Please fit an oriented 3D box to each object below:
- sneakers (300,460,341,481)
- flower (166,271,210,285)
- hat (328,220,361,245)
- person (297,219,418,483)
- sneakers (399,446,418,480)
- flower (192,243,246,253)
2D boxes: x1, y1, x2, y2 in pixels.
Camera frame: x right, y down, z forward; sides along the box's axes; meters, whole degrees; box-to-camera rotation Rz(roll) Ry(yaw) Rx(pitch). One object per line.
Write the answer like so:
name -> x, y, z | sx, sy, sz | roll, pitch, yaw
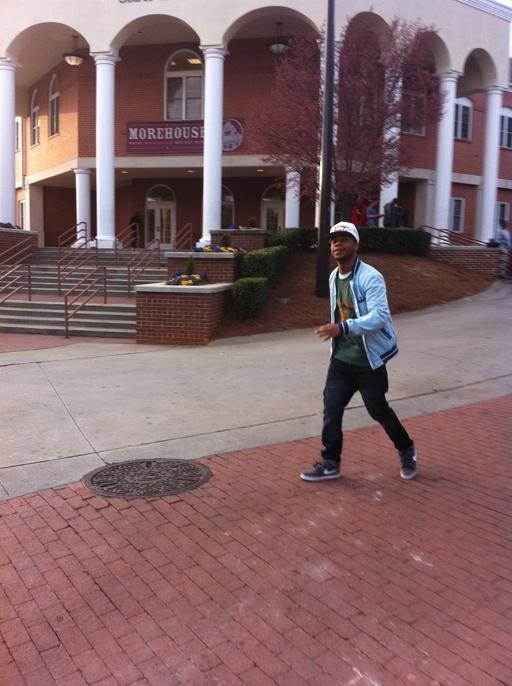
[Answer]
sneakers -> 0.492, 0.949, 4.733 | 0.368, 0.136, 0.113 | 1, -2, -6
flower -> -1.315, -1.221, 12.112 | 0.754, 0.204, 0.803 | -1, 8, -7
hat -> 0.625, -0.781, 4.464 | 0.224, 0.135, 0.285 | 7, 18, 6
person -> 0.728, 0.100, 4.492 | 0.805, 1.888, 0.784 | 1, 9, 12
sneakers -> 1.139, 0.912, 4.736 | 0.100, 0.101, 0.280 | -18, 3, 24
flower -> -1.058, -2.159, 14.359 | 1.137, 0.237, 0.880 | 8, 10, 41
